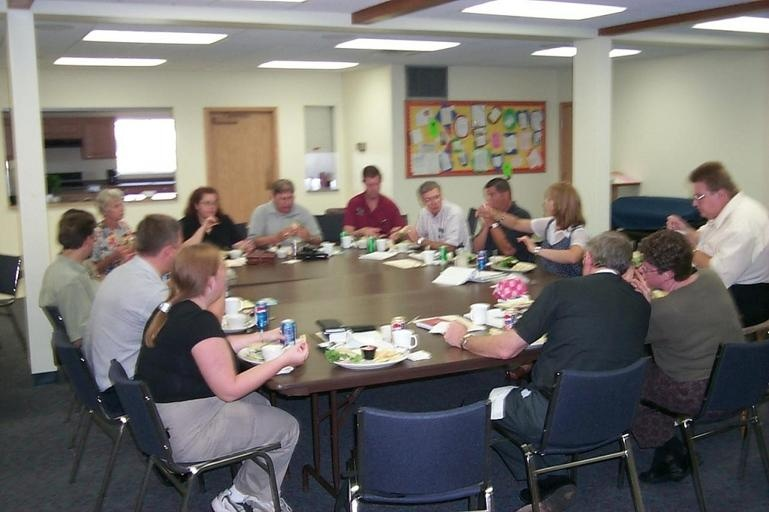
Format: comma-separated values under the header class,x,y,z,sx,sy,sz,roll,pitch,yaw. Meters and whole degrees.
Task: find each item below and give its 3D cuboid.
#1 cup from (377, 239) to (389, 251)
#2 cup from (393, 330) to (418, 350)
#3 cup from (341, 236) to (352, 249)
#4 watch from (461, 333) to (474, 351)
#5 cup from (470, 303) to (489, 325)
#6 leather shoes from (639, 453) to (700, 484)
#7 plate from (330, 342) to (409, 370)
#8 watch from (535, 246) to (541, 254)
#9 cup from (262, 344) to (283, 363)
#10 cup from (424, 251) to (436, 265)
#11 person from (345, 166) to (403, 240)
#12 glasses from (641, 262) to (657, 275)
class,x,y,z,sx,sy,sz,roll,pitch,yaw
cup,-0.013,-0.112,5.973,0.117,0.087,0.121,2,11,0
cup,0.113,0.475,3.528,0.147,0.126,0.096,6,9,35
cup,-0.387,-0.142,6.259,0.137,0.113,0.087,-1,1,-7
watch,0.475,0.494,3.521,0.083,0.052,0.086,21,-30,-31
cup,0.582,0.355,3.808,0.090,0.105,0.134,10,16,37
leather shoes,1.772,1.352,3.871,0.430,0.166,0.146,-2,4,-9
plate,-0.088,0.540,3.382,0.435,0.106,0.253,-3,9,7
watch,1.277,-0.047,5.128,0.051,0.064,0.076,8,22,17
cup,-0.600,0.524,3.328,0.107,0.065,0.081,-5,11,-5
cup,0.393,0.009,5.386,0.104,0.106,0.120,0,0,1
person,-0.101,-0.548,6.848,0.807,0.848,0.586,-2,11,-4
glasses,1.557,0.072,3.635,0.061,0.032,0.057,7,22,5
